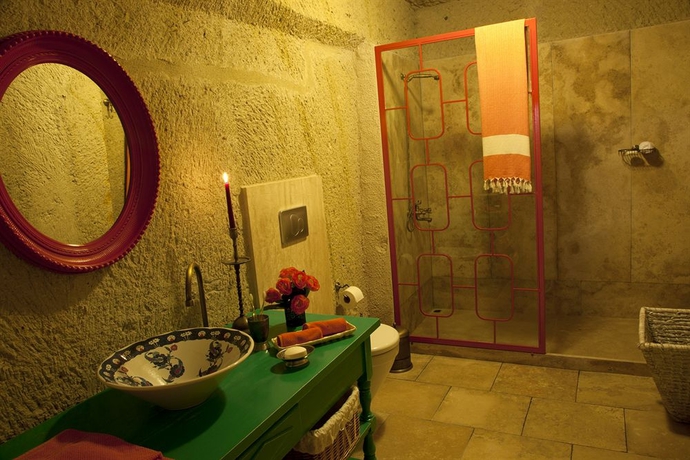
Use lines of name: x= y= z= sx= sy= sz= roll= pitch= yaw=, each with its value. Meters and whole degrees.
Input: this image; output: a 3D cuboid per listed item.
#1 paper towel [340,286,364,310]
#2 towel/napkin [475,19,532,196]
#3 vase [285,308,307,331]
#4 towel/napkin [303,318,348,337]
paper towel: x=0.045 y=0.452 z=3.275 sx=0.148 sy=0.158 sz=0.187 roll=6 pitch=7 yaw=31
towel/napkin: x=1.091 y=-0.826 z=3.272 sx=0.333 sy=1.159 sz=0.221 roll=-4 pitch=8 yaw=16
vase: x=-0.246 y=0.433 z=2.281 sx=0.103 sy=0.114 sz=0.103 roll=-1 pitch=0 yaw=14
towel/napkin: x=-0.076 y=0.444 z=2.187 sx=0.110 sy=0.039 sz=0.105 roll=-2 pitch=0 yaw=-39
